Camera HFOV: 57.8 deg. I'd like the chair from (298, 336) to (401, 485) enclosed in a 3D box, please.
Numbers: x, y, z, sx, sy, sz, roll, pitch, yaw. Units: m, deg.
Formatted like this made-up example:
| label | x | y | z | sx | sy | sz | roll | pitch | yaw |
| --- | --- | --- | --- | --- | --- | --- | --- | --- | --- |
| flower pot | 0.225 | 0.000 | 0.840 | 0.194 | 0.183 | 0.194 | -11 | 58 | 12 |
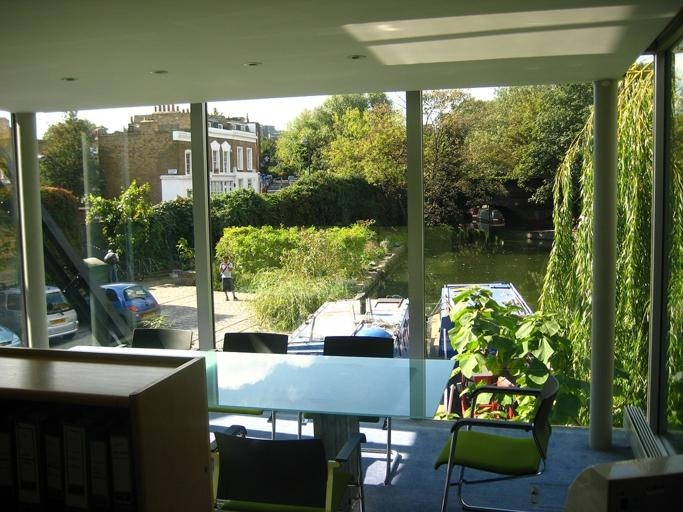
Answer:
| label | x | y | z | sx | sy | sz | roll | pitch | yaw |
| --- | --- | --- | --- | --- | --- | --- | --- | --- | --- |
| chair | 0.277 | 1.075 | 5.082 | 0.682 | 1.385 | 0.875 | -1 | -7 | 8 |
